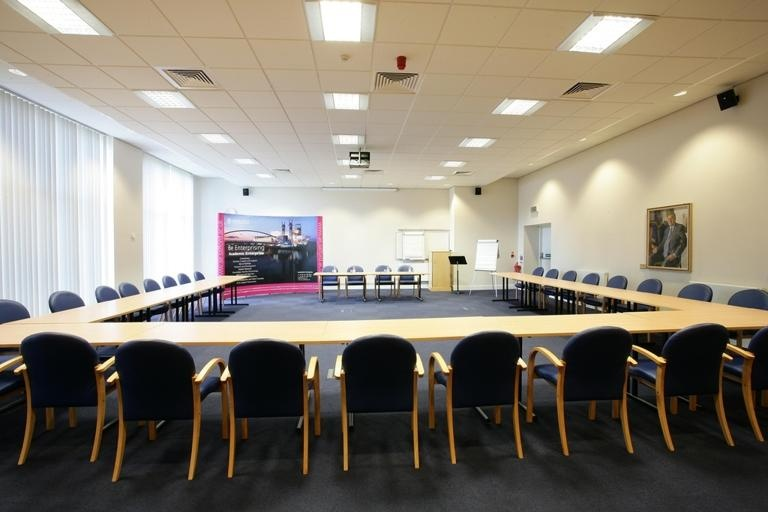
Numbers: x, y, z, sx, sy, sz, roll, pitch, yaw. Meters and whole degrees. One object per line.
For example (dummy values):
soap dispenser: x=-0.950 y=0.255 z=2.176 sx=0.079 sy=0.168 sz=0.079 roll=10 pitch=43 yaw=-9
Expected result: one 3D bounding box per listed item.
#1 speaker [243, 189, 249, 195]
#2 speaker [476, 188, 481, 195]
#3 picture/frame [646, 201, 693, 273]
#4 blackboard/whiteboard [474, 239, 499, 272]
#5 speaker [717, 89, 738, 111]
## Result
speaker: x=-3.879 y=-1.808 z=13.639 sx=0.157 sy=0.145 sz=0.074 roll=0 pitch=-1 yaw=-5
speaker: x=2.663 y=-1.830 z=13.732 sx=0.162 sy=0.175 sz=0.159 roll=5 pitch=4 yaw=6
picture/frame: x=5.009 y=-0.306 z=8.574 sx=0.141 sy=1.208 sz=0.852 roll=0 pitch=-1 yaw=-15
blackboard/whiteboard: x=2.871 y=-0.006 z=13.336 sx=0.724 sy=0.886 sz=0.519 roll=1 pitch=2 yaw=36
speaker: x=5.371 y=-2.447 z=7.584 sx=0.286 sy=0.352 sz=0.217 roll=-1 pitch=-1 yaw=42
